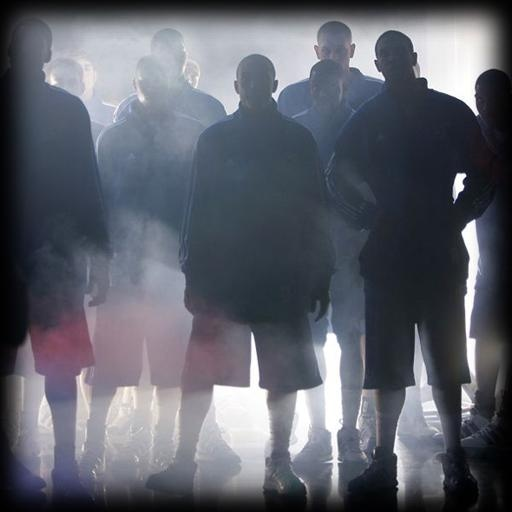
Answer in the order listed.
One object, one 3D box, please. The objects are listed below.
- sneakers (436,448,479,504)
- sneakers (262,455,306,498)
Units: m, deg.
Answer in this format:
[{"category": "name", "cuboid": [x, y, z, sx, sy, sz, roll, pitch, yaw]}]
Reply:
[{"category": "sneakers", "cuboid": [0.784, 0.833, 3.427, 0.137, 0.193, 0.163, 4, 0, 14]}, {"category": "sneakers", "cuboid": [0.109, 0.839, 3.504, 0.099, 0.173, 0.213, 20, -21, -32]}]
